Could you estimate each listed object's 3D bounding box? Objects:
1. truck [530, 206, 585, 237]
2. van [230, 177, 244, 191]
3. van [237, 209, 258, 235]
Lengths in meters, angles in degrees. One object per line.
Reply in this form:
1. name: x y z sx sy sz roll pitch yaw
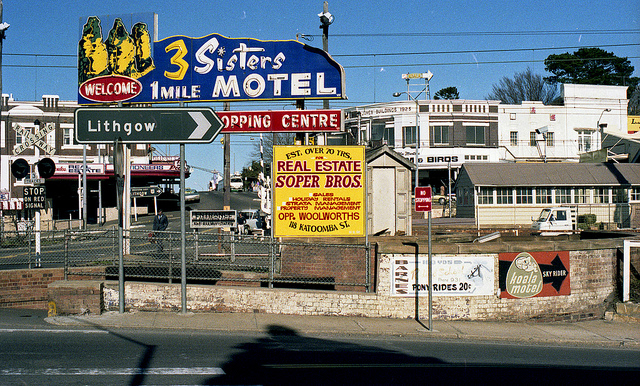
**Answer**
1. truck: 17.516 2.104 90.727 3.079 1.803 2.161 2 -4 0
2. van: -8.929 -0.859 130.640 1.226 1.425 2.573 -1 1 -6
3. van: -5.503 2.132 92.243 1.410 1.016 2.169 -2 -6 12
